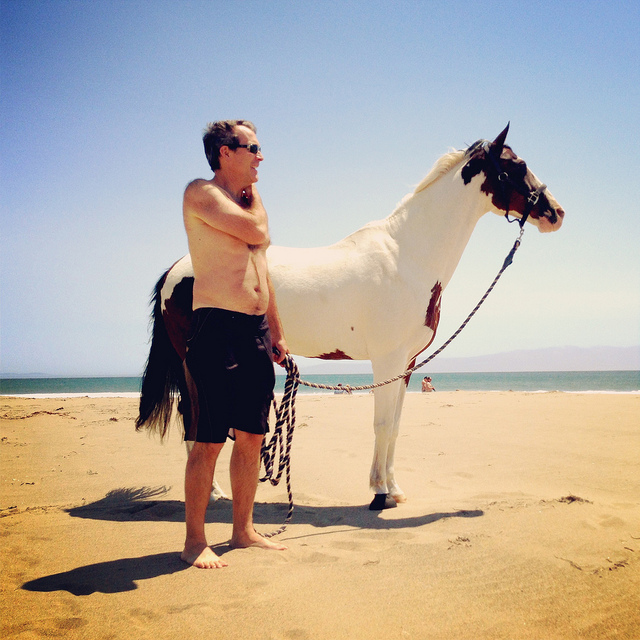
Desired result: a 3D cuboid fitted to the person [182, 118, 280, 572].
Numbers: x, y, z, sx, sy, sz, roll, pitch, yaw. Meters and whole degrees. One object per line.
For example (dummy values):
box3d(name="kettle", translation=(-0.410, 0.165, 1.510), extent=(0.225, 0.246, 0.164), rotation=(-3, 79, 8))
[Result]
box3d(name="person", translation=(-0.546, 0.117, 4.437), extent=(0.623, 2.731, 0.509), rotation=(2, -2, -4))

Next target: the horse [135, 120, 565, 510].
box3d(name="horse", translation=(0.157, 0.324, 5.692), extent=(2.732, 2.698, 0.865), rotation=(-1, -7, 9))
